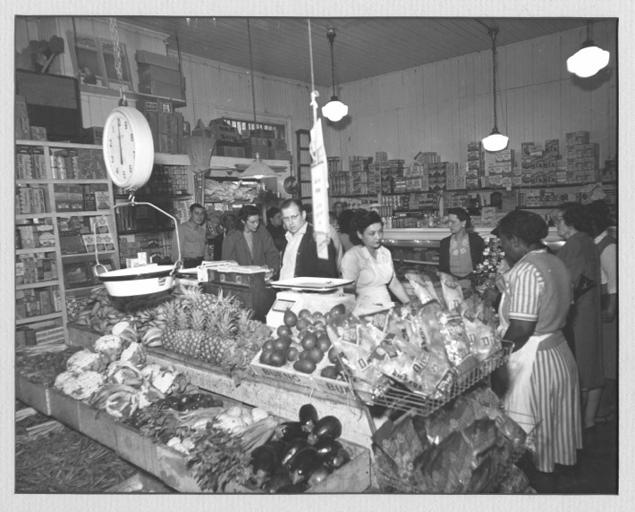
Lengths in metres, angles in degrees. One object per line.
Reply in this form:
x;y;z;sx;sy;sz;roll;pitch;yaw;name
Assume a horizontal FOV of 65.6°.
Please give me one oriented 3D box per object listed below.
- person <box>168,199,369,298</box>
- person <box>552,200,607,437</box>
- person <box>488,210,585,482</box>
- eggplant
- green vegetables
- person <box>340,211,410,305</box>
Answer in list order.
-0.080;-0.167;4.695;0.721;0.748;1.678;11;12;43;person
2.198;0.424;4.266;0.610;2.027;0.580;-5;6;-42;person
1.406;0.594;3.254;0.478;1.855;0.565;6;9;32;person
-0.082;1.015;2.526;0.368;0.133;0.367;-40;37;-13;eggplant
-0.486;1.013;2.722;0.518;0.274;0.556;4;8;-26;green vegetables
0.444;0.010;3.963;0.442;0.795;0.514;2;11;27;person
